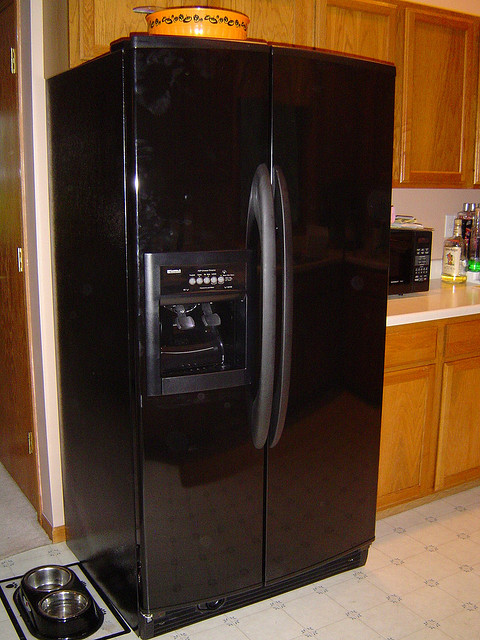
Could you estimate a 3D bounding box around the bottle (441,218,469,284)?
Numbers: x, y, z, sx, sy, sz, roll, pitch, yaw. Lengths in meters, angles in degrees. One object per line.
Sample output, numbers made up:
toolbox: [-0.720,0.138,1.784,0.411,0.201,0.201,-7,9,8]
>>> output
bottle: [1.138,-0.371,2.825,0.117,0.347,0.256,3,5,30]

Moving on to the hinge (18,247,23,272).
hinge: [-0.803,-0.225,1.958,0.010,0.124,0.058,-3,10,-24]

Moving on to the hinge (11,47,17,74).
hinge: [-0.764,-0.878,1.805,0.010,0.082,0.054,-2,5,-32]

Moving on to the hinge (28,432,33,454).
hinge: [-0.810,0.471,2.068,0.010,0.094,0.058,-1,5,-28]

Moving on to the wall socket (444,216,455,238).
wall socket: [1.155,-0.515,2.946,0.034,0.119,0.075,4,5,44]

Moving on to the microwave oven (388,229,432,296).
microwave oven: [0.719,-0.257,2.285,0.208,0.262,0.148,-8,10,-39]

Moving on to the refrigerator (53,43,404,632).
refrigerator: [-0.021,0.070,1.560,1.044,1.594,0.634,-1,4,-16]
